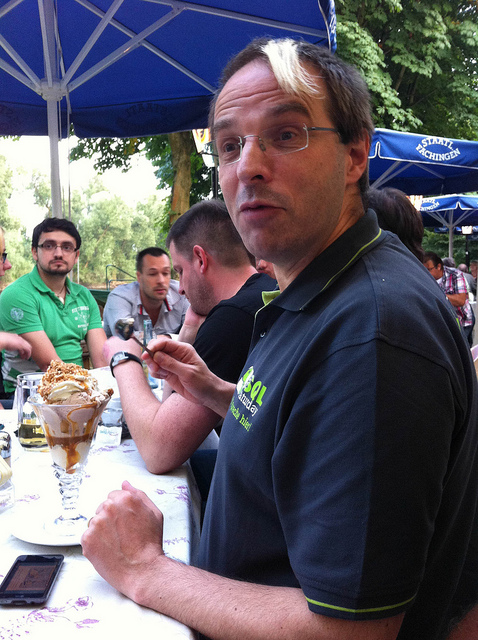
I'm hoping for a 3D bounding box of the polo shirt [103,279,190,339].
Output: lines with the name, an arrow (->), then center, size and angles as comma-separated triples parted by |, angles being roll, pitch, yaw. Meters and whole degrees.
polo shirt -> -0.710, -0.078, 4.237 | 0.522, 0.719, 0.432 | -5, 5, -34
